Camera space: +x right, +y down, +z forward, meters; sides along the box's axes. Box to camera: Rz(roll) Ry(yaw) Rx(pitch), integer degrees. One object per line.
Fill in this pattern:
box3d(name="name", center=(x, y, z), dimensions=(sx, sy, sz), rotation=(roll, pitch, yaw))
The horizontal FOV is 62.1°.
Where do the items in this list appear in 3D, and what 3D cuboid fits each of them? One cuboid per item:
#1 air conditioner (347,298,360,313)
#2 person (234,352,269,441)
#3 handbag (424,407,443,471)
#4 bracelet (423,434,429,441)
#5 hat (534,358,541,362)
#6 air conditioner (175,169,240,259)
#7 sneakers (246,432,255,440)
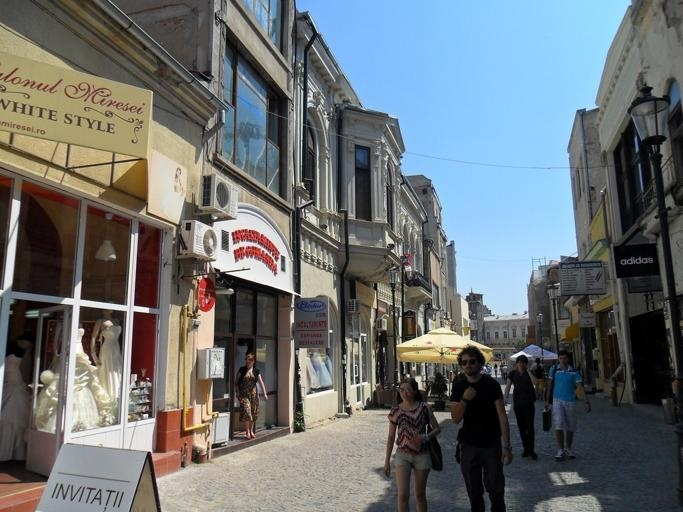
box3d(name="air conditioner", center=(0.374, 1.755, 20.181), dimensions=(0.362, 0.454, 0.403), rotation=(-1, -5, 2))
box3d(name="person", center=(-2.226, 3.337, 13.827), dimensions=(0.612, 2.018, 1.246), rotation=(-2, -6, -2))
box3d(name="handbag", center=(1.219, 2.464, 7.587), dimensions=(0.204, 0.842, 0.433), rotation=(-3, -6, 7))
box3d(name="bracelet", center=(1.115, 2.392, 7.478), dimensions=(0.075, 0.075, 0.023), rotation=(2, -7, -34))
box3d(name="hat", center=(9.285, 4.926, 26.818), dimensions=(0.292, 0.333, 0.324), rotation=(-1, -5, 14))
box3d(name="air conditioner", center=(-2.812, -0.864, 11.617), dimensions=(0.663, 2.109, 1.349), rotation=(-4, -14, 13))
box3d(name="sneakers", center=(-2.162, 4.209, 13.314), dimensions=(0.117, 0.092, 0.189), rotation=(3, -3, -29))
